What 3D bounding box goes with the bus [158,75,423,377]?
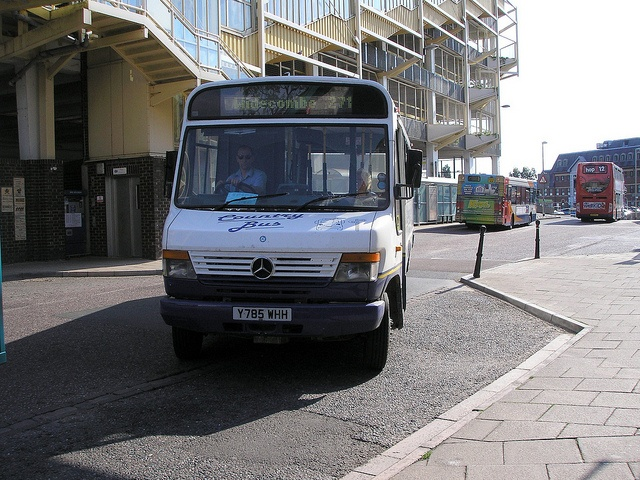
[{"bbox_3d":[-0.165,-0.339,7.534,2.087,2.322,4.246,-1,-1,9],"label":"bus"}]
